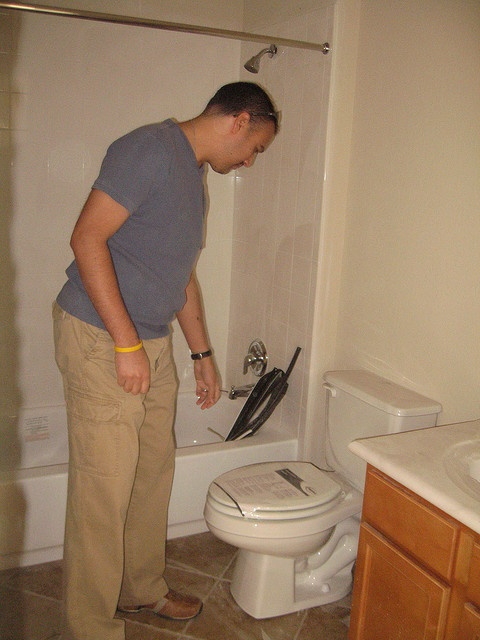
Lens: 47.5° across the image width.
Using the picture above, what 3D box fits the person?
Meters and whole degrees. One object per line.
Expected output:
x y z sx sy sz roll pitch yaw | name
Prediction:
-0.211 0.157 1.426 0.526 1.499 0.422 -3 9 -34 | person

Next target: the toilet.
0.215 0.517 1.889 0.750 0.936 0.498 -1 7 -22 | toilet
